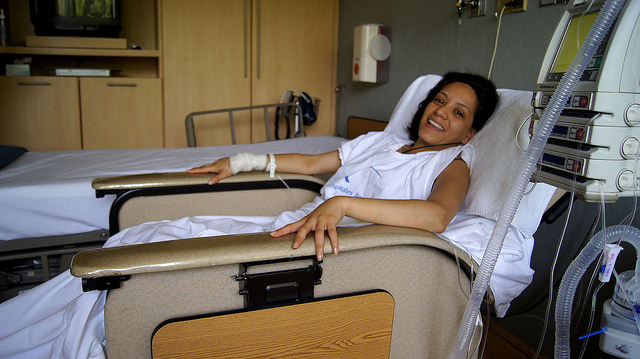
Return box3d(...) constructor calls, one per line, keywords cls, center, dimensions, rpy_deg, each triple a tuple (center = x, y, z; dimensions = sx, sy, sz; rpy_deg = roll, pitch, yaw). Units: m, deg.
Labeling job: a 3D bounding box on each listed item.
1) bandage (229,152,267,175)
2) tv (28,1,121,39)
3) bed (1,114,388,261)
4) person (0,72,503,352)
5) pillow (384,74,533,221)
box3d(cls="bandage", center=(-0.386, -0.090, 2.425), dimensions=(0.156, 0.111, 0.064), rpy_deg=(-4, -24, -7))
box3d(cls="tv", center=(-2.340, -1.517, 4.310), dimensions=(0.767, 0.382, 0.499), rpy_deg=(1, 12, -10))
box3d(cls="bed", center=(-0.953, -0.005, 2.853), dimensions=(1.753, 0.714, 0.972), rpy_deg=(-2, 12, -18))
box3d(cls="person", center=(-0.199, 0.065, 2.388), dimensions=(2.451, 1.360, 1.149), rpy_deg=(1, 24, -13))
box3d(cls="pillow", center=(0.900, -0.234, 2.460), dimensions=(0.726, 0.623, 0.925), rpy_deg=(-6, 19, -22))
